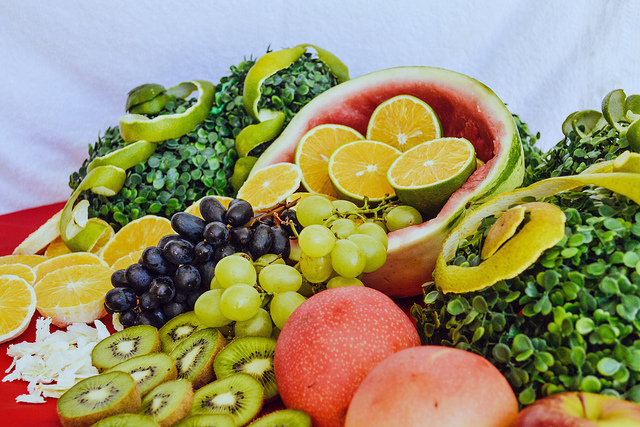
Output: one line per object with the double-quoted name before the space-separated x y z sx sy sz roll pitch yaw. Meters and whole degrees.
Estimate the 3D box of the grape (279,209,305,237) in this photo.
"grape" -0.086 0.024 1.940 0.065 0.066 0.086 -37 73 -16

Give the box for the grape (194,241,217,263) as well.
"grape" -0.342 0.112 1.851 0.050 0.049 0.066 -3 5 26

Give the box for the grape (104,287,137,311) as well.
"grape" -0.602 0.256 1.873 0.063 0.082 0.062 -11 92 -10

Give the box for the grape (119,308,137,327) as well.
"grape" -0.586 0.314 1.891 0.045 0.045 0.057 5 73 -8

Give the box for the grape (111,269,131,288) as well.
"grape" -0.613 0.197 1.892 0.050 0.027 0.048 1 75 -14

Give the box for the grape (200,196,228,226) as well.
"grape" -0.329 -0.004 1.908 0.063 0.030 0.090 -39 96 -24

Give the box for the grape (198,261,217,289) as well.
"grape" -0.340 0.183 1.859 0.056 0.057 0.074 -2 79 -13

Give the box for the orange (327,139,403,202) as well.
"orange" 0.145 -0.147 2.060 0.218 0.083 0.195 -8 65 4

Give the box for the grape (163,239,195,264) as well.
"grape" -0.414 0.111 1.837 0.083 0.062 0.061 10 78 -36

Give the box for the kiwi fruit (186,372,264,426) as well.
"kiwi fruit" -0.249 0.489 1.641 0.146 0.047 0.124 -30 31 -6

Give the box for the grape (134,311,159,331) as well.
"grape" -0.526 0.318 1.877 0.052 0.035 0.061 -41 76 10

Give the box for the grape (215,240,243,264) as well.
"grape" -0.272 0.115 1.860 0.070 0.079 0.068 -1 7 -7

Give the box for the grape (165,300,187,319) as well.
"grape" -0.434 0.287 1.881 0.061 0.047 0.045 -5 10 -7

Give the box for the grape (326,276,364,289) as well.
"grape" 0.067 0.197 1.789 0.071 0.040 0.046 -6 -3 35

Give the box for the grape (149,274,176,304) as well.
"grape" -0.465 0.227 1.850 0.067 0.066 0.087 0 4 -2

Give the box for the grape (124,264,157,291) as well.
"grape" -0.542 0.187 1.866 0.086 0.062 0.045 20 13 -10

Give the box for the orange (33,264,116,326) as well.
"orange" -0.803 0.254 2.022 0.222 0.085 0.214 -1 36 -2

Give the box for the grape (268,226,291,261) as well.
"grape" -0.123 0.088 1.869 0.058 0.062 0.094 0 82 -27

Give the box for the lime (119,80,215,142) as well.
"lime" -0.520 -0.331 2.247 0.314 0.083 0.230 -29 42 -10

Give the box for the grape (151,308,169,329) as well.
"grape" -0.485 0.318 1.889 0.044 0.032 0.055 -28 81 -17

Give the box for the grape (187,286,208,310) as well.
"grape" -0.379 0.251 1.869 0.059 0.059 0.068 23 67 -16

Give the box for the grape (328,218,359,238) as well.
"grape" 0.061 0.044 1.851 0.069 0.052 0.052 -3 47 4

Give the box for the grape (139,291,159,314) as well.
"grape" -0.514 0.271 1.873 0.048 0.047 0.062 -1 4 -3

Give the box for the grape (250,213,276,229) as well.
"grape" -0.181 0.020 1.929 0.059 0.032 0.048 -2 16 6

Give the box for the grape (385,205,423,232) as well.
"grape" 0.258 0.009 1.961 0.093 0.073 0.071 -21 91 -41

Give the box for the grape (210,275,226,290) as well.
"grape" -0.299 0.206 1.842 0.023 0.042 0.041 -18 73 -15

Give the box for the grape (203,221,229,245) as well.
"grape" -0.307 0.056 1.835 0.068 0.063 0.064 2 89 -4

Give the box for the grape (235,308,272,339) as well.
"grape" -0.187 0.321 1.833 0.092 0.069 0.069 -28 96 -25

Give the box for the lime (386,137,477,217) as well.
"lime" 0.358 -0.166 2.000 0.259 0.164 0.255 -30 23 15

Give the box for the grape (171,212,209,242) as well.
"grape" -0.396 0.036 1.864 0.121 0.059 0.060 31 77 -15

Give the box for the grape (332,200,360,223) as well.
"grape" 0.083 -0.017 1.965 0.069 0.039 0.070 18 16 -8

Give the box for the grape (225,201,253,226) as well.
"grape" -0.247 -0.002 1.885 0.061 0.051 0.076 29 46 23

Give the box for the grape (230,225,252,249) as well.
"grape" -0.236 0.066 1.858 0.053 0.039 0.067 -6 77 -8

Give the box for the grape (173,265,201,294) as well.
"grape" -0.395 0.196 1.858 0.072 0.066 0.067 -30 53 -33
